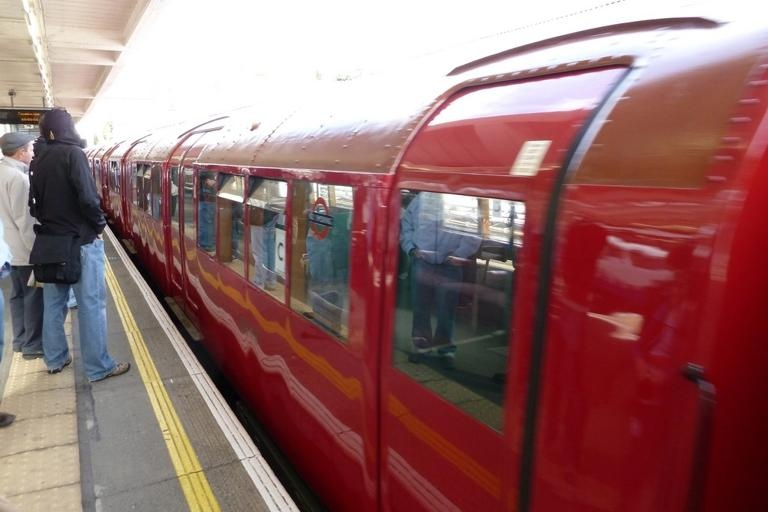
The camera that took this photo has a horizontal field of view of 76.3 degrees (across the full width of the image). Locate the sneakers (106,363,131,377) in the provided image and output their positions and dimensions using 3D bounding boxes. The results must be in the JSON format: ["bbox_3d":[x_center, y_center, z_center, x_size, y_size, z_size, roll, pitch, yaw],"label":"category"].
[{"bbox_3d":[-2.646,1.132,4.857,0.071,0.081,0.195,16,26,41],"label":"sneakers"}]

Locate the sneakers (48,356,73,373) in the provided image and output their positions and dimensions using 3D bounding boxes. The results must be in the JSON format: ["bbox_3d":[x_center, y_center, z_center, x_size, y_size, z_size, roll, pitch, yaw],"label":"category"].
[{"bbox_3d":[-3.258,1.122,4.940,0.105,0.083,0.247,-22,19,18],"label":"sneakers"}]
